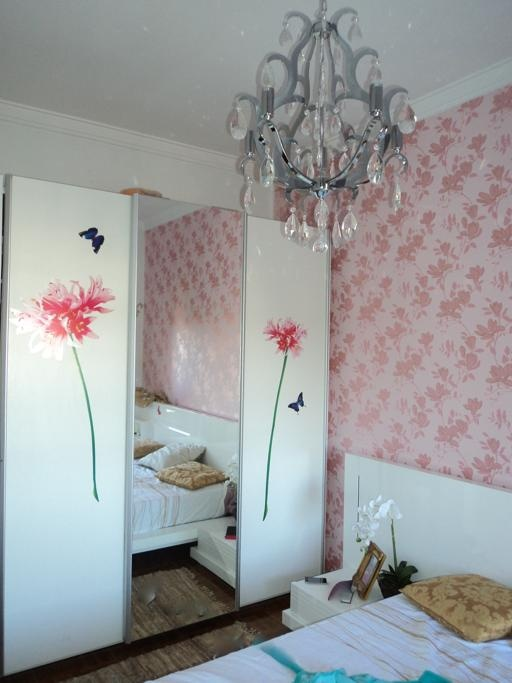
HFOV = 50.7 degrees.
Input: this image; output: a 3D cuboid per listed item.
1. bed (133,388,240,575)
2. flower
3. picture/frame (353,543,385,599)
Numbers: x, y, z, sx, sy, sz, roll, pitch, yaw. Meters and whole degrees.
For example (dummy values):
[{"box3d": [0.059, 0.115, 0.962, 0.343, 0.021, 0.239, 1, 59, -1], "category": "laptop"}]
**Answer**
[{"box3d": [-0.389, 0.727, 2.947, 0.796, 0.792, 0.494, 8, 5, 43], "category": "bed"}, {"box3d": [0.631, 0.970, 2.617, 0.280, 0.393, 0.203, 0, -8, 11], "category": "flower"}, {"box3d": [0.547, 1.117, 2.608, 0.022, 0.294, 0.227, 28, 37, -8], "category": "picture/frame"}]
